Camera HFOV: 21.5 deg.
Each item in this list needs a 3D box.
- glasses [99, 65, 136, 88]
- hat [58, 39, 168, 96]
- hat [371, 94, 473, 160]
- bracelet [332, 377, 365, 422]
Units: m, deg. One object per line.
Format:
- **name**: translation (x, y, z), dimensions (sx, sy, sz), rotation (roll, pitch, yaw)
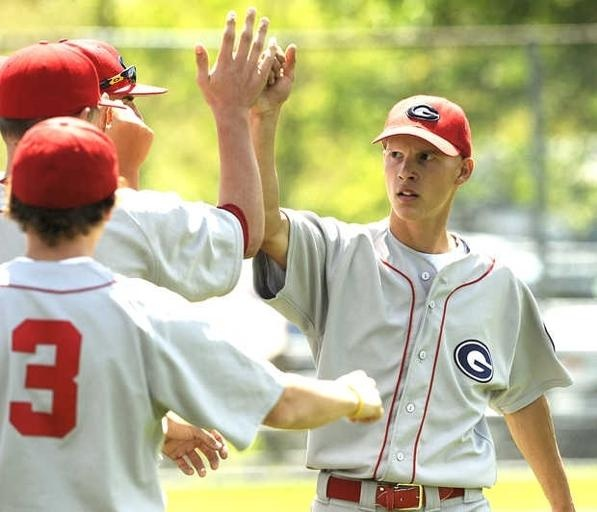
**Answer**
- **glasses**: translation (-0.793, -0.781, 6.910), dimensions (0.106, 0.039, 0.114), rotation (-19, 9, -3)
- **hat**: translation (-0.880, -0.812, 7.018), dimensions (0.547, 0.262, 0.359), rotation (-9, 2, -4)
- **hat**: translation (0.578, -0.627, 7.559), dimensions (0.427, 0.304, 0.590), rotation (8, 5, 7)
- **bracelet**: translation (0.203, 0.585, 6.490), dimensions (0.057, 0.156, 0.125), rotation (6, -23, -37)
